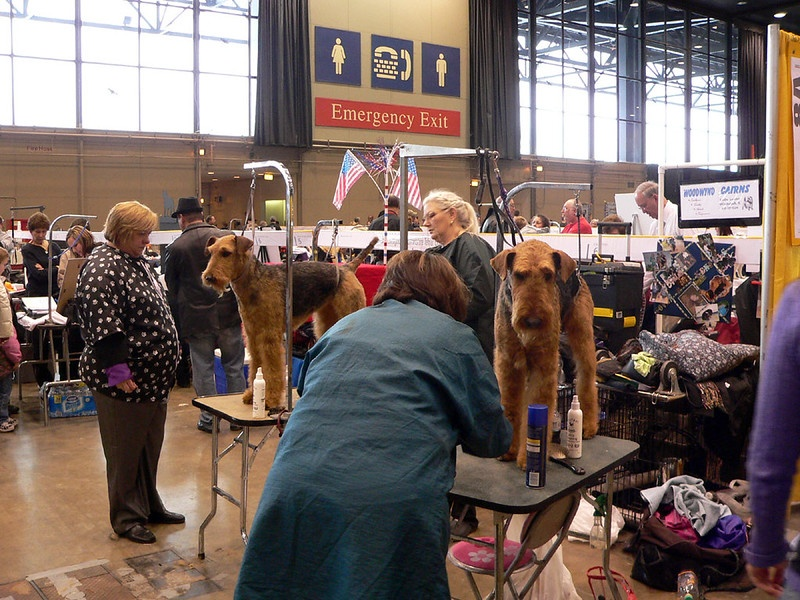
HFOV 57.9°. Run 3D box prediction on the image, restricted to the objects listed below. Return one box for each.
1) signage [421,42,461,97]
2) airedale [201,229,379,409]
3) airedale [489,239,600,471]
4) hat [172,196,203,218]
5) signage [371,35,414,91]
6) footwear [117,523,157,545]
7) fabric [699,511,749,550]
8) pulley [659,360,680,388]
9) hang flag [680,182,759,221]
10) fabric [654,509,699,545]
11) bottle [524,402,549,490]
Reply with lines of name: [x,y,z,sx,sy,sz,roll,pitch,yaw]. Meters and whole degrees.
signage: [1.088,-6.488,20.275,1.471,1.674,0.072,-1,2,-42]
airedale: [-0.702,0.129,5.807,2.085,1.701,0.629,3,-5,-43]
airedale: [0.716,0.208,3.709,0.502,1.242,0.519,8,11,25]
hat: [-2.003,-0.915,6.760,0.221,0.118,0.271,-5,-6,-34]
signage: [-0.269,-6.421,19.535,1.357,1.562,0.181,-3,4,-35]
footwear: [-1.788,1.601,4.955,0.275,0.128,0.122,-2,0,14]
fabric: [2.060,1.490,4.578,0.210,0.081,0.194,-22,10,4]
pulley: [1.809,0.518,4.857,0.118,0.186,0.094,0,8,6]
hang flag: [2.469,-0.762,5.593,0.052,0.315,0.629,-8,11,-41]
fabric: [1.800,1.461,4.660,0.186,0.065,0.160,30,24,23]
bottle: [0.653,0.682,3.449,0.098,0.390,0.179,1,8,12]
